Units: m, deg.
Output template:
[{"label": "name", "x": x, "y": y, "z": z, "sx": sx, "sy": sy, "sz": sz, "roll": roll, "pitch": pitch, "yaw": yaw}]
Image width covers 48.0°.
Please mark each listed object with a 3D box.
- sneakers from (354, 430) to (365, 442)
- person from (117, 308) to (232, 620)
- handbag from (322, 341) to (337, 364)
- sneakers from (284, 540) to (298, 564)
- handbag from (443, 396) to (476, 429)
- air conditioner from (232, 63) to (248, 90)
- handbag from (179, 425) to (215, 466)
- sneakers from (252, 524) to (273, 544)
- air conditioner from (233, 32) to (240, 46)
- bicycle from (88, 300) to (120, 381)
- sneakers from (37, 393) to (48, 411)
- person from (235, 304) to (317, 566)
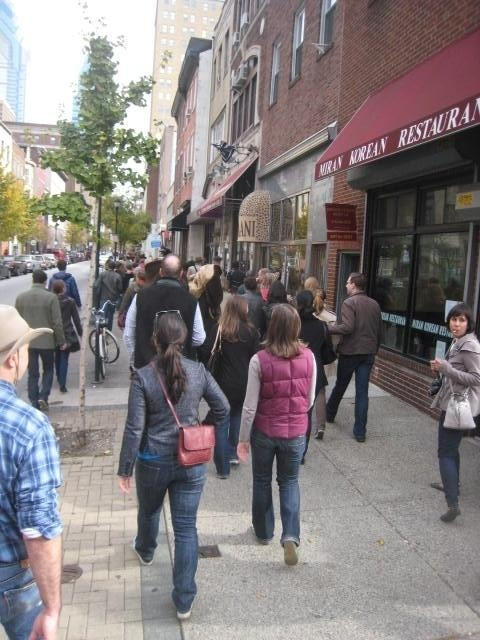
[{"label": "sneakers", "x": 1.393, "y": 1.351, "z": 6.295, "sx": 0.140, "sy": 0.111, "sz": 0.166, "roll": 1, "pitch": 5, "yaw": 9}, {"label": "person", "x": -0.381, "y": 0.789, "z": 3.082, "sx": 0.544, "sy": 1.689, "sz": 0.632, "roll": 0, "pitch": 4, "yaw": 0}, {"label": "handbag", "x": 0.971, "y": 0.357, "z": 5.897, "sx": 0.129, "sy": 0.338, "sz": 0.639, "roll": 1, "pitch": 5, "yaw": 10}, {"label": "sneakers", "x": 0.316, "y": 1.470, "z": 3.429, "sx": 0.090, "sy": 0.138, "sz": 0.141, "roll": 1, "pitch": 5, "yaw": 3}, {"label": "handbag", "x": 1.673, "y": 0.705, "z": 4.122, "sx": 0.195, "sy": 0.273, "sz": 0.107, "roll": -6, "pitch": -8, "yaw": 36}, {"label": "air conditioner", "x": 0.012, "y": -9.289, "z": 20.180, "sx": 0.422, "sy": 0.830, "sz": 2.012, "roll": 0, "pitch": 5, "yaw": -9}, {"label": "handbag", "x": -0.237, "y": 0.654, "z": 2.830, "sx": 0.172, "sy": 0.197, "sz": 0.093, "roll": -6, "pitch": 8, "yaw": -34}, {"label": "sneakers", "x": 0.159, "y": 1.561, "z": 3.949, "sx": 0.066, "sy": 0.098, "sz": 0.203, "roll": 1, "pitch": 11, "yaw": -8}, {"label": "air conditioner", "x": -0.160, "y": -11.520, "z": 22.024, "sx": 0.177, "sy": 0.414, "sz": 0.716, "roll": 0, "pitch": 5, "yaw": -8}, {"label": "bicycle", "x": -2.567, "y": 0.424, "z": 10.145, "sx": 0.615, "sy": 1.033, "sz": 1.589, "roll": 11, "pitch": 18, "yaw": -18}, {"label": "sneakers", "x": -2.626, "y": 1.089, "z": 7.198, "sx": 0.070, "sy": 0.216, "sz": 0.089, "roll": -3, "pitch": 37, "yaw": -10}, {"label": "person", "x": 0.225, "y": 0.774, "z": 3.595, "sx": 0.494, "sy": 1.747, "sz": 0.498, "roll": 2, "pitch": 4, "yaw": 16}]
